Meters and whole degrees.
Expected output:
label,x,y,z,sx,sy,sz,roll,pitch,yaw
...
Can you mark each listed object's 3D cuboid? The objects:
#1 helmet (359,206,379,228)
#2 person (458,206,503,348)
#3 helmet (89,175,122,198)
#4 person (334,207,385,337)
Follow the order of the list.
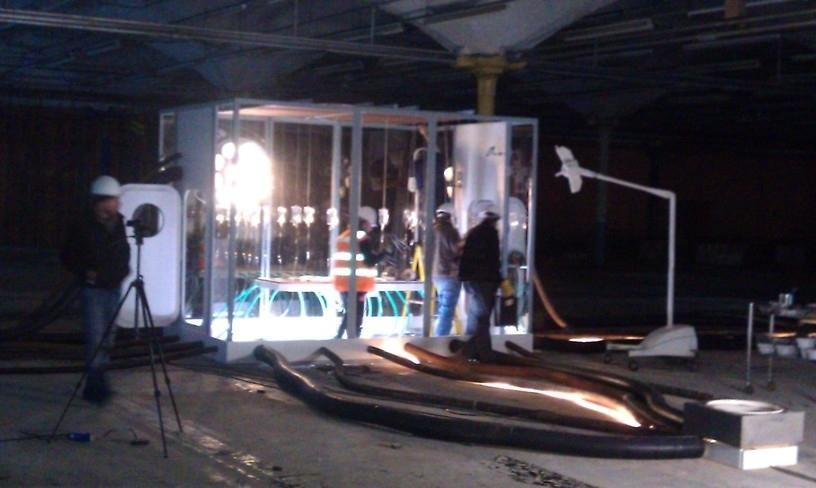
label,x,y,z,sx,sy,sz,roll,pitch,yaw
helmet,-0.708,-0.472,12.858,0.390,0.302,0.278,26,9,10
person,1.243,0.665,12.523,0.696,2.495,1.132,1,2,6
helmet,-4.305,-0.806,10.172,0.402,0.340,0.327,-6,15,-17
person,-0.892,0.506,12.797,0.860,2.314,0.487,1,2,-7
